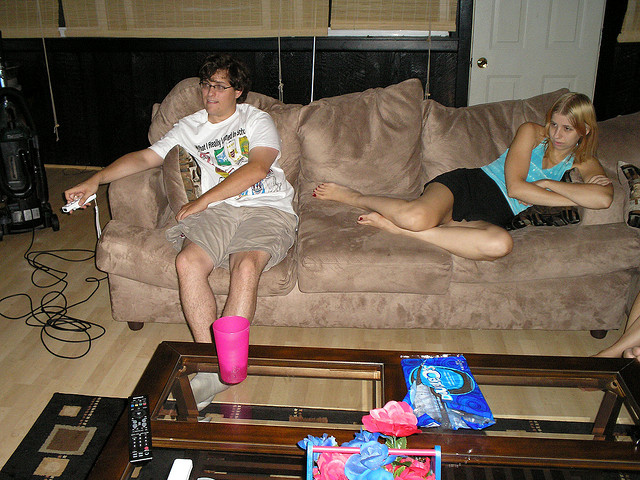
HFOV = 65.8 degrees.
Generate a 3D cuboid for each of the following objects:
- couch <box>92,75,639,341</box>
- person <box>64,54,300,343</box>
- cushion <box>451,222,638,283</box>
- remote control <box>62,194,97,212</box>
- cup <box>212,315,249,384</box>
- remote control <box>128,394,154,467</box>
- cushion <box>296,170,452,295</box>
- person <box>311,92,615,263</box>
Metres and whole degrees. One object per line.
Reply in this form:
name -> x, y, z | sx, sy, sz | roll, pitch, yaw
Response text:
couch -> 0.257, -0.117, 2.510 | 2.048, 0.862, 0.839 | 0, 52, 3
person -> -0.443, -0.267, 2.445 | 0.890, 1.176, 1.042 | -19, 31, -34
cushion -> 1.126, 0.078, 2.462 | 0.909, 0.278, 0.188 | -6, 5, 3
remote control -> -1.140, -0.175, 2.338 | 0.087, 0.062, 0.163 | 15, 28, 29
cup -> -0.285, 0.353, 1.620 | 0.144, 0.203, 0.143 | 2, 3, 0
remote control -> -0.524, 0.551, 1.461 | 0.066, 0.042, 0.216 | 1, 40, -11
cushion -> 0.251, -0.029, 2.603 | 0.726, 0.380, 0.687 | -1, 25, -2
person -> 0.800, -0.219, 2.555 | 1.287, 0.523, 0.741 | 6, 57, -6
